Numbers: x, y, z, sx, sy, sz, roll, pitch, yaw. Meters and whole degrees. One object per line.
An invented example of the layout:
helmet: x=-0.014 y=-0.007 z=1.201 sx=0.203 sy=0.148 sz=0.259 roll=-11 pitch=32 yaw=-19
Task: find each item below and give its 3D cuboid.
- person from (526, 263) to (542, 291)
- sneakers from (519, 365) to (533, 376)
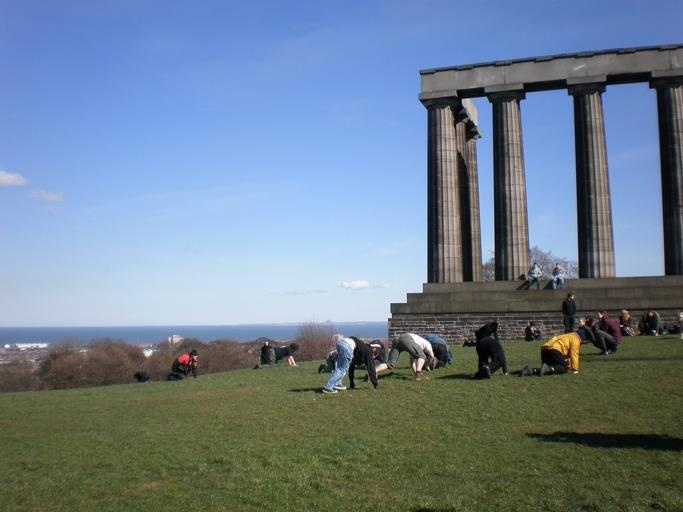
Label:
person: x=9.772 y=0.985 z=33.179 sx=0.665 sy=1.350 sz=1.604 roll=-1 pitch=2 yaw=17
sneakers: x=5.501 y=3.419 z=19.334 sx=0.513 sy=0.286 sz=0.197 roll=-3 pitch=2 yaw=-40
